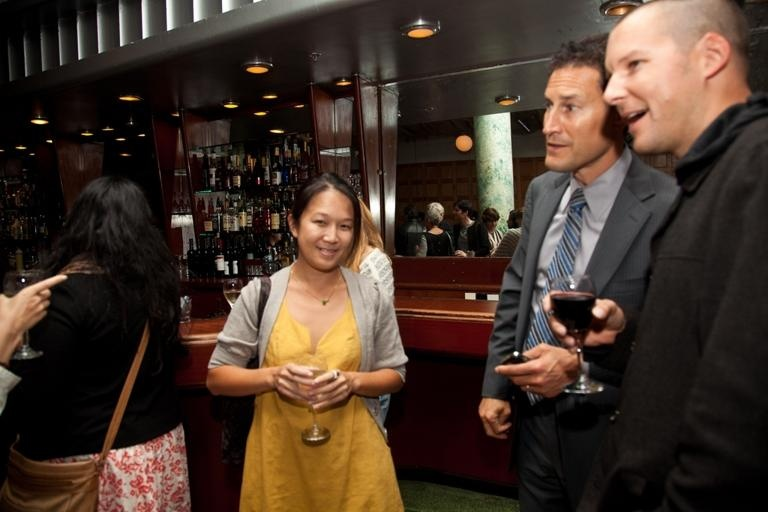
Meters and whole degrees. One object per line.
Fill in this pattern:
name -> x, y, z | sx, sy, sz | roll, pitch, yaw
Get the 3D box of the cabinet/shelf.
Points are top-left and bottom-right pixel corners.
cabinet/shelf -> -1.504, -0.507, 6.430 | 1.744, 1.769, 0.610 | -5, -13, 16

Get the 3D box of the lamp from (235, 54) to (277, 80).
lamp -> -1.107, -1.657, 4.796 | 0.276, 0.097, 0.510 | -4, 11, -15

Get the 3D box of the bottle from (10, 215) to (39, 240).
bottle -> -5.206, -0.407, 7.915 | 0.371, 0.413, 0.378 | 6, 9, 26

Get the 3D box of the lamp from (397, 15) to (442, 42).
lamp -> 0.283, -1.665, 3.999 | 0.284, 0.093, 0.247 | -5, 11, -17

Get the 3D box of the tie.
tie -> 0.744, 0.142, 2.183 | 0.258, 0.245, 1.031 | -21, 20, 36
